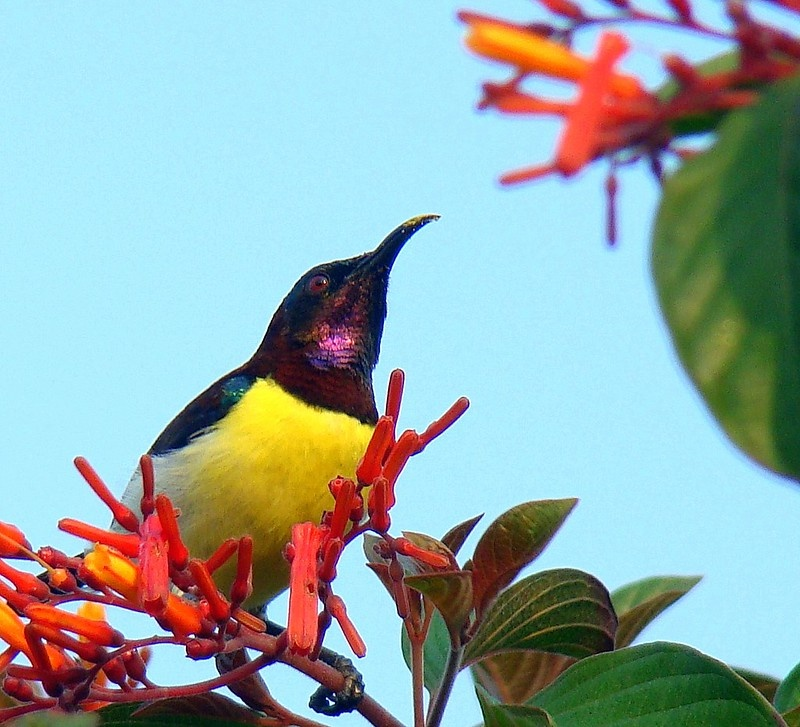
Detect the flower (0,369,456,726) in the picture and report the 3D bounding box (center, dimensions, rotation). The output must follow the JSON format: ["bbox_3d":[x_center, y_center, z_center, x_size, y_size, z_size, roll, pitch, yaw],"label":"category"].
[{"bbox_3d":[-0.231,0.288,2.150,0.473,0.351,0.431,-8,8,-34],"label":"flower"}]

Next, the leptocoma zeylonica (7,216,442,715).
[{"bbox_3d":[-0.330,0.083,3.244,0.336,0.926,1.100,-3,15,-40],"label":"leptocoma zeylonica"}]
